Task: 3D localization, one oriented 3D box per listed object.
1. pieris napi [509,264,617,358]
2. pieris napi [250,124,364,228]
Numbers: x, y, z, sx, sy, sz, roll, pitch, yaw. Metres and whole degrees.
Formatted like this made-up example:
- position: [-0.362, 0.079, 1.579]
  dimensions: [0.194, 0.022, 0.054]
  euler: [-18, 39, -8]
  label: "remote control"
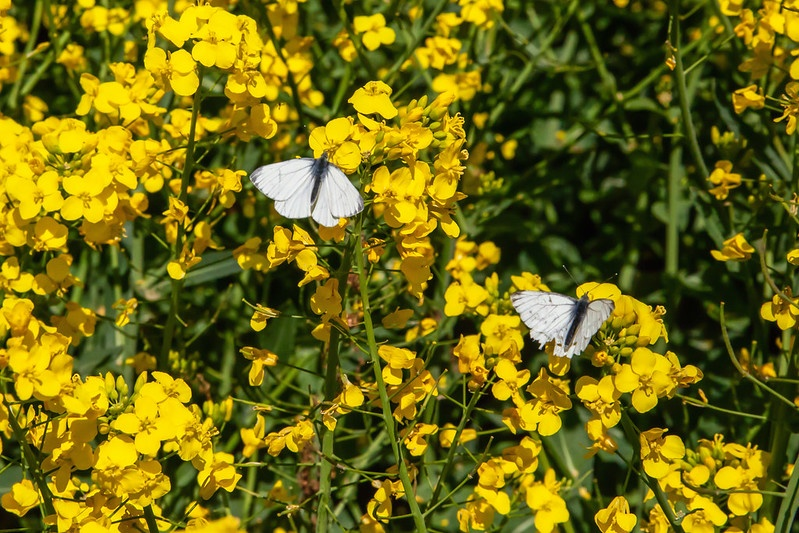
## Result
- position: [0.266, 0.086, 1.606]
  dimensions: [0.150, 0.042, 0.113]
  euler: [15, 81, 36]
  label: "pieris napi"
- position: [-0.148, -0.125, 1.579]
  dimensions: [0.047, 0.203, 0.125]
  euler: [4, 85, -25]
  label: "pieris napi"
